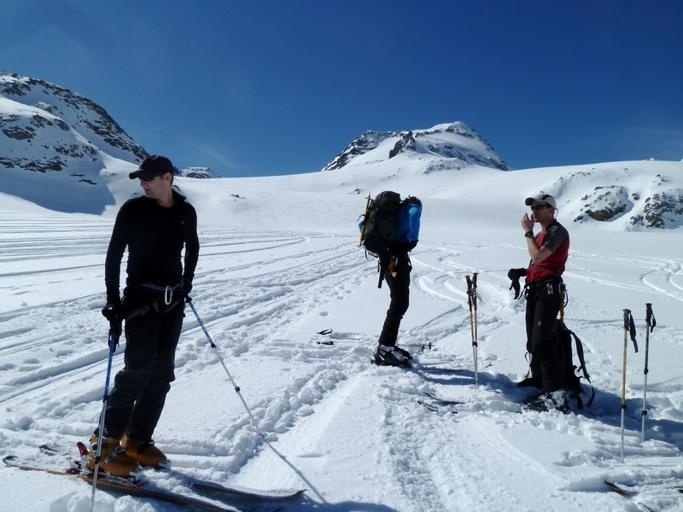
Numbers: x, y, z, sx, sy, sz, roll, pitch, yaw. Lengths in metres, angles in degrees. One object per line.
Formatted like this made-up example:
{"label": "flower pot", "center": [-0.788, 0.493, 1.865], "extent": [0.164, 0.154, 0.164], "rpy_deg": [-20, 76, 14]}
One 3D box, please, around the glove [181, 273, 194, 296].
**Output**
{"label": "glove", "center": [-1.978, 0.370, 7.111], "extent": [0.226, 0.273, 0.097], "rpy_deg": [3, -12, 44]}

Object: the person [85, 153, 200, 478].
{"label": "person", "center": [-2.357, 0.657, 6.672], "extent": [1.128, 3.787, 0.828], "rpy_deg": [1, 6, -29]}

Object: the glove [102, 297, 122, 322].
{"label": "glove", "center": [-2.713, 0.642, 6.415], "extent": [0.291, 0.236, 0.218], "rpy_deg": [-10, -3, 36]}

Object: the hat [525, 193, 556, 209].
{"label": "hat", "center": [2.986, -0.848, 8.062], "extent": [0.468, 0.195, 0.284], "rpy_deg": [12, -5, -6]}

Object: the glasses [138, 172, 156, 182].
{"label": "glasses", "center": [-2.423, -0.980, 6.710], "extent": [0.155, 0.094, 0.238], "rpy_deg": [10, 18, 28]}
